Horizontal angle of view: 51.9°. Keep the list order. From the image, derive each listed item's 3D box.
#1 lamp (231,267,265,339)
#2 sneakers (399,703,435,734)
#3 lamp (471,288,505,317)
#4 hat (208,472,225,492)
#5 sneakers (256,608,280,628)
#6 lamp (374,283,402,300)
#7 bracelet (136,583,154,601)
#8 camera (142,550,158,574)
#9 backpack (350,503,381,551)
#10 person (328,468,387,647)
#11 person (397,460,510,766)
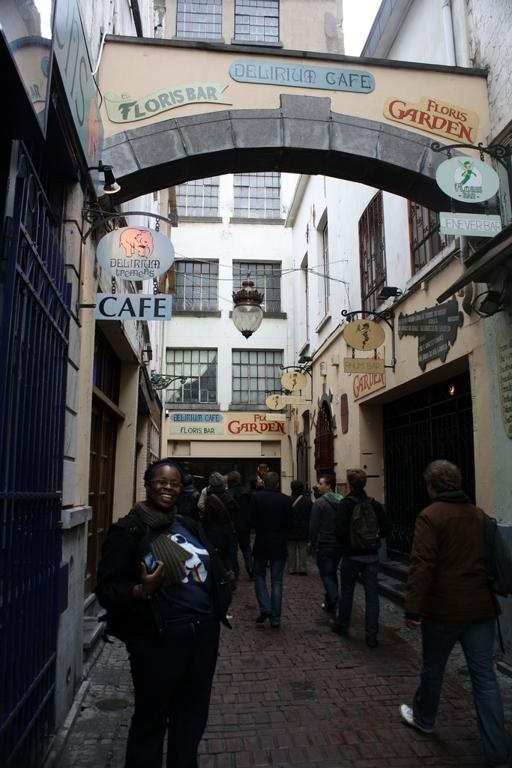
[{"bbox_3d":[-0.115,-1.200,7.554,0.429,1.219,1.169,1,-13,-2],"label":"lamp"},{"bbox_3d":[1.019,2.156,3.360,0.075,0.107,0.218,1,9,-28],"label":"sneakers"},{"bbox_3d":[2.382,-0.843,5.397,0.229,0.126,0.318,44,-32,-14],"label":"lamp"},{"bbox_3d":[-0.618,1.581,8.358,0.191,0.235,0.318,-1,-2,-2],"label":"hat"},{"bbox_3d":[0.147,2.920,6.473,0.143,0.204,0.446,1,-30,-7],"label":"sneakers"},{"bbox_3d":[2.254,-1.562,8.886,0.331,0.215,0.392,2,-13,-4],"label":"lamp"},{"bbox_3d":[-0.389,0.724,1.817,0.043,0.036,0.063,5,-16,-8],"label":"bracelet"},{"bbox_3d":[-0.363,0.631,1.826,0.053,0.060,0.038,6,-13,-20],"label":"camera"},{"bbox_3d":[1.191,1.548,5.770,0.267,0.564,0.276,-4,-4,-7],"label":"backpack"},{"bbox_3d":[1.160,1.900,5.866,0.587,1.839,0.614,-1,-12,10],"label":"person"},{"bbox_3d":[1.184,1.383,3.094,0.597,1.458,0.559,-3,-13,16],"label":"person"}]
